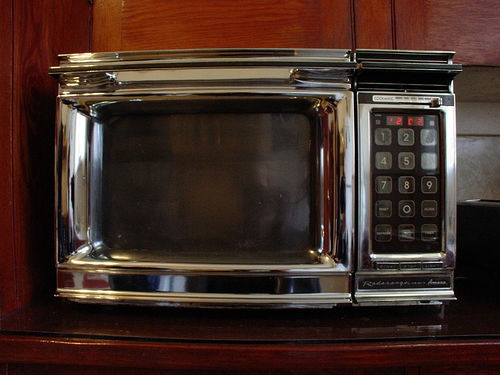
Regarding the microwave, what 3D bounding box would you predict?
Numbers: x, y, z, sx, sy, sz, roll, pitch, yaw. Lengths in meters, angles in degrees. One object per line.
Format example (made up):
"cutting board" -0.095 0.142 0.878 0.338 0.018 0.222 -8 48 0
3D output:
"microwave" 0.039 -0.094 1.458 1.008 0.570 0.567 -1 -4 4
